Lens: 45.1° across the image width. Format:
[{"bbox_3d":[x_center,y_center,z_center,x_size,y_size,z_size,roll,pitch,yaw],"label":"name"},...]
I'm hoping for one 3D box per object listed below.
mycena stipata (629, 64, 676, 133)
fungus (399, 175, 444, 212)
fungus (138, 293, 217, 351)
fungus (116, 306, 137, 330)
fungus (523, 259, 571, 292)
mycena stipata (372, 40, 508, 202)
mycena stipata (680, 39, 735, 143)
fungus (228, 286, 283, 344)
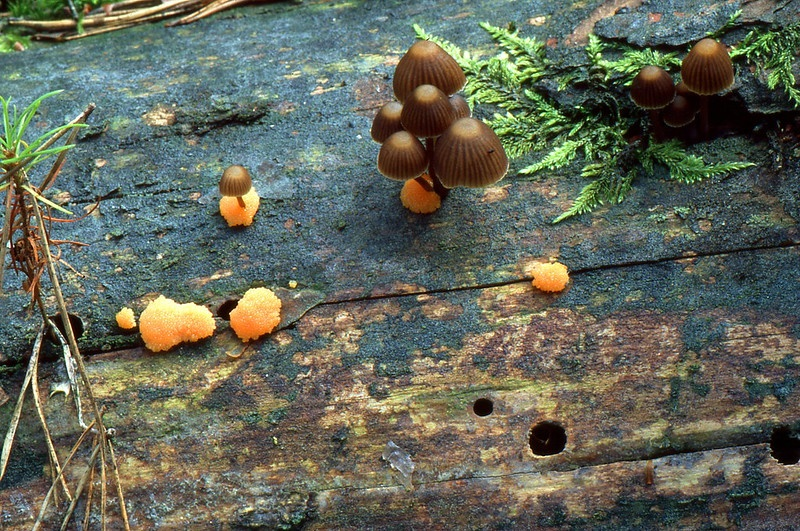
[{"bbox_3d":[2.113,-1.375,8.052,0.305,0.531,0.314,-35,50,-22],"label":"mycena stipata"},{"bbox_3d":[0.141,-0.580,7.976,0.309,0.083,0.298,-35,87,-10],"label":"fungus"},{"bbox_3d":[-1.762,0.454,7.732,0.455,0.396,0.533,-6,7,30],"label":"fungus"},{"bbox_3d":[-2.177,0.426,7.675,0.165,0.049,0.161,40,100,9],"label":"fungus"},{"bbox_3d":[1.198,0.093,7.653,0.298,0.155,0.191,-1,45,7],"label":"fungus"},{"bbox_3d":[0.271,-1.049,7.795,1.015,1.141,1.058,-20,46,-11],"label":"mycena stipata"},{"bbox_3d":[2.536,-1.475,7.964,0.427,0.727,0.388,6,48,16],"label":"mycena stipata"},{"bbox_3d":[-1.134,0.360,7.785,0.500,0.363,0.534,-8,10,-7],"label":"fungus"}]
